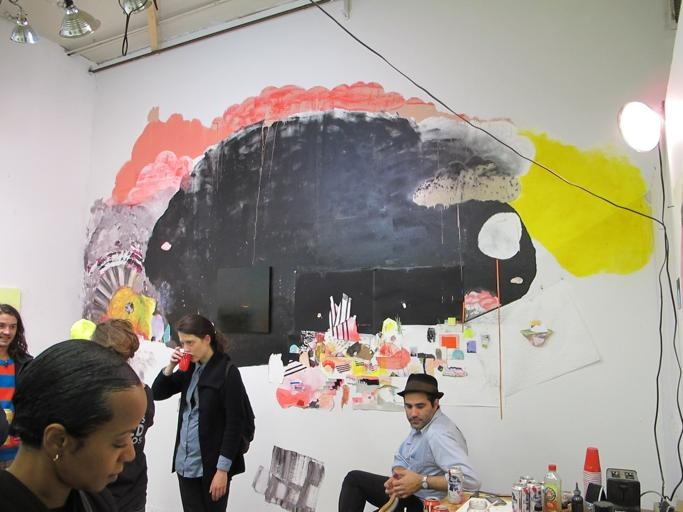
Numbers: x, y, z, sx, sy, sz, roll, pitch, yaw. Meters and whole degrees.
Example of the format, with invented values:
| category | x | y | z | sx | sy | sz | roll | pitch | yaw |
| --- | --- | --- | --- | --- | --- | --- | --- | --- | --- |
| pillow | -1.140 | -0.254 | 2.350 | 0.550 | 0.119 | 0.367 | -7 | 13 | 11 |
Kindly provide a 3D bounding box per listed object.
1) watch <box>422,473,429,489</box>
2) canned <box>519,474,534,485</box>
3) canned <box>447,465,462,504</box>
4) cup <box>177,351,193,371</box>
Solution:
| category | x | y | z | sx | sy | sz | roll | pitch | yaw |
| --- | --- | --- | --- | --- | --- | --- | --- | --- | --- |
| watch | 0.573 | 1.529 | 4.248 | 0.046 | 0.070 | 0.064 | -3 | -5 | 7 |
| canned | 1.179 | 1.415 | 3.989 | 0.053 | 0.042 | 0.056 | -2 | -8 | 32 |
| canned | 0.773 | 1.486 | 4.099 | 0.160 | 0.226 | 0.096 | 9 | -16 | -30 |
| cup | -1.162 | 0.780 | 4.678 | 0.116 | 0.134 | 0.123 | 0 | -20 | 0 |
